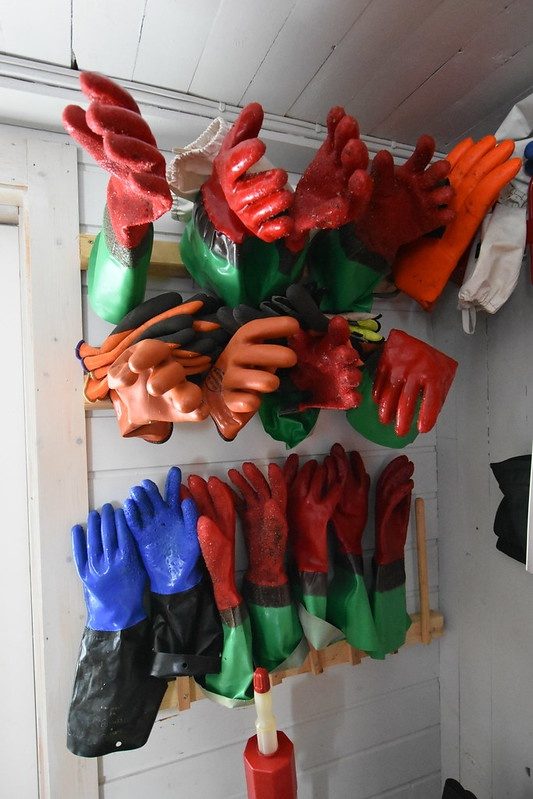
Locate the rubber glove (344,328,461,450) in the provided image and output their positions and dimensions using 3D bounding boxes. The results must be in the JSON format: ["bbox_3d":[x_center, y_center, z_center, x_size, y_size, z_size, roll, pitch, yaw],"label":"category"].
[{"bbox_3d":[0.248,-0.021,1.293,0.200,0.234,0.078,30,-2,5],"label":"rubber glove"}]

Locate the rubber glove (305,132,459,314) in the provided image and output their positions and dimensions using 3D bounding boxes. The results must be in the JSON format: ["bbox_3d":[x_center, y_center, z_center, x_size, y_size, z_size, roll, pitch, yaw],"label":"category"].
[{"bbox_3d":[0.147,-0.326,1.209,0.266,0.124,0.464,5,-29,4],"label":"rubber glove"}]

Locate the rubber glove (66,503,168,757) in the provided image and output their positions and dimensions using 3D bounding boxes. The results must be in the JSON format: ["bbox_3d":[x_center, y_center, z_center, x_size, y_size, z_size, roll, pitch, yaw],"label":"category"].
[{"bbox_3d":[-0.269,0.403,1.235,0.166,0.420,0.092,-3,-3,-8],"label":"rubber glove"}]

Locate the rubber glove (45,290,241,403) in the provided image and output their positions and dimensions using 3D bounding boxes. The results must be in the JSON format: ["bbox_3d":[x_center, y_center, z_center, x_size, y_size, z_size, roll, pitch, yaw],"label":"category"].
[{"bbox_3d":[-0.196,-0.094,1.138,0.240,0.174,0.102,-20,-17,3],"label":"rubber glove"}]

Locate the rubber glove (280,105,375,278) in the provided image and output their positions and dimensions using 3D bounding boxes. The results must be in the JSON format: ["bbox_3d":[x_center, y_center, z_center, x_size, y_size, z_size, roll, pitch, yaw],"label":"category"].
[{"bbox_3d":[0.102,-0.340,1.151,0.111,0.194,0.359,-6,0,-9],"label":"rubber glove"}]

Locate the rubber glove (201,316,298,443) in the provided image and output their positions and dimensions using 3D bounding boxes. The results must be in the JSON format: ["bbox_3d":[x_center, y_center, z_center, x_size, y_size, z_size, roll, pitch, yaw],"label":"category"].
[{"bbox_3d":[-0.034,-0.028,1.096,0.079,0.193,0.127,-1,39,-49],"label":"rubber glove"}]

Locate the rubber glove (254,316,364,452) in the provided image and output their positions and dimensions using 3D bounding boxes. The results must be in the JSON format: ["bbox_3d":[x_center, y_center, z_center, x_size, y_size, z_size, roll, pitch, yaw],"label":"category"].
[{"bbox_3d":[0.104,-0.052,1.203,0.083,0.203,0.223,-30,21,34],"label":"rubber glove"}]
